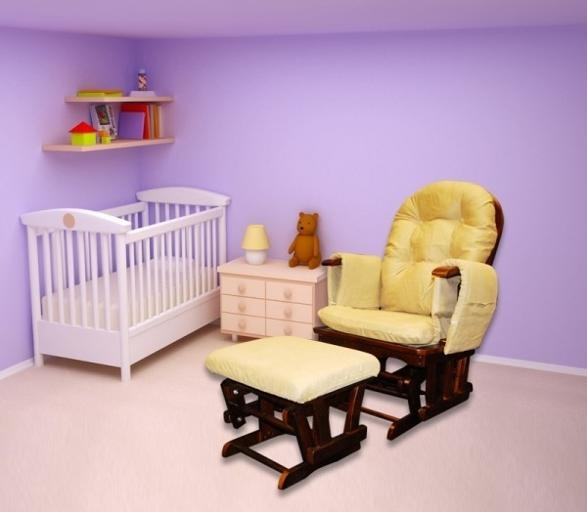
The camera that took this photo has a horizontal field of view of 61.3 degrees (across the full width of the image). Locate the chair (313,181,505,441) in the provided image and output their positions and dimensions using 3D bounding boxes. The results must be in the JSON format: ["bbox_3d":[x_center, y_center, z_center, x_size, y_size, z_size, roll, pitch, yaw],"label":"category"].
[{"bbox_3d":[0.653,0.211,2.900,1.130,1.260,0.987,-7,8,-42],"label":"chair"}]

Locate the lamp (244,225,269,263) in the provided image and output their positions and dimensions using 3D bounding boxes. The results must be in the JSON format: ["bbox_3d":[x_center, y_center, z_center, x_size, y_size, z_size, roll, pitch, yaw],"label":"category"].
[{"bbox_3d":[-0.280,-0.089,3.789,0.234,0.287,0.242,6,9,37],"label":"lamp"}]

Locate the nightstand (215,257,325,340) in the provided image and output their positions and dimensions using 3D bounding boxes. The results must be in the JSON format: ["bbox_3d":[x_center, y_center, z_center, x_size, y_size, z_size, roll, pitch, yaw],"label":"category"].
[{"bbox_3d":[-0.150,0.369,3.771,0.760,0.581,0.419,6,14,15],"label":"nightstand"}]

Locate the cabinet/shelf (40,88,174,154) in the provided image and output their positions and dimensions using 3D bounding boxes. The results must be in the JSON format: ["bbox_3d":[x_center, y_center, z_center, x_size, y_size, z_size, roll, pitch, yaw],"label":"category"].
[{"bbox_3d":[-1.330,-1.008,3.667,0.373,0.503,1.015,4,11,22],"label":"cabinet/shelf"}]

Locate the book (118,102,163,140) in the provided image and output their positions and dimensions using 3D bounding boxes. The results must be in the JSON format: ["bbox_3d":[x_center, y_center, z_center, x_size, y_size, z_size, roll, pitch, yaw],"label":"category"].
[{"bbox_3d":[-1.216,-1.050,3.984,0.327,0.318,0.079,-2,0,0],"label":"book"}]

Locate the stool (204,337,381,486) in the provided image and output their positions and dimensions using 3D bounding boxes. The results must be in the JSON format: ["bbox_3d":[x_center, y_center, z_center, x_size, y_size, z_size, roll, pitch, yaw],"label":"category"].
[{"bbox_3d":[-0.009,0.707,2.365,0.669,0.493,0.581,3,4,44],"label":"stool"}]

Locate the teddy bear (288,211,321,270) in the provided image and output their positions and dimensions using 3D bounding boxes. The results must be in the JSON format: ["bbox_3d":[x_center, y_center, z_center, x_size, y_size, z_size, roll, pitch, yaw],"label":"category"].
[{"bbox_3d":[0.085,-0.120,3.695,0.248,0.399,0.249,0,17,2],"label":"teddy bear"}]

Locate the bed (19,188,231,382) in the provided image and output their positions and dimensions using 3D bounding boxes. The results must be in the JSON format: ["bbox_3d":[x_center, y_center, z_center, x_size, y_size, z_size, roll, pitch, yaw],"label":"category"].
[{"bbox_3d":[-1.208,0.075,3.763,1.209,1.160,1.514,6,12,30],"label":"bed"}]
